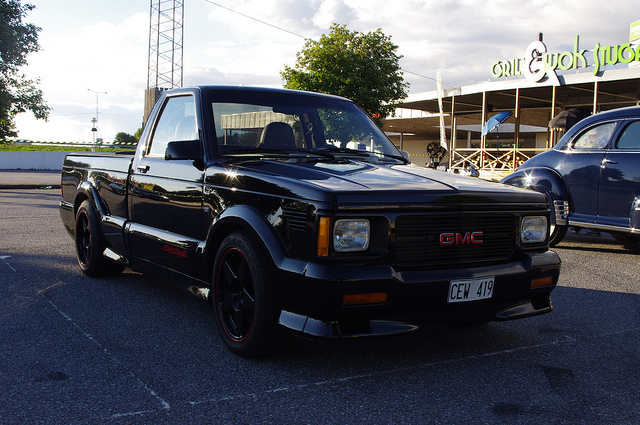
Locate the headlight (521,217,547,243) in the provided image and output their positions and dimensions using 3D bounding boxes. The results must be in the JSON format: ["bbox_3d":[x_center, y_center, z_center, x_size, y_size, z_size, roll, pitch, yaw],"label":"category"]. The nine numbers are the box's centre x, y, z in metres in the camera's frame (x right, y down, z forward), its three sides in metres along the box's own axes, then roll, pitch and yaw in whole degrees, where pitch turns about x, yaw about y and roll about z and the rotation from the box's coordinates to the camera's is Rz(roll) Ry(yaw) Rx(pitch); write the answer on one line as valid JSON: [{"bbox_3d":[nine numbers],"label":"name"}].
[{"bbox_3d":[1.827,0.143,3.645,0.212,0.180,0.111,-3,5,-27],"label":"headlight"}]

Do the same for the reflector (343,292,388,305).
[{"bbox_3d":[0.321,0.607,3.001,0.332,0.084,0.010,-2,10,-15],"label":"reflector"}]

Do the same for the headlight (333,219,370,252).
[{"bbox_3d":[0.244,0.169,3.052,0.308,0.263,0.117,-3,-17,27],"label":"headlight"}]

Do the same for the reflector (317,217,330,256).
[{"bbox_3d":[0.028,0.166,2.969,0.080,0.271,0.037,2,10,8],"label":"reflector"}]
